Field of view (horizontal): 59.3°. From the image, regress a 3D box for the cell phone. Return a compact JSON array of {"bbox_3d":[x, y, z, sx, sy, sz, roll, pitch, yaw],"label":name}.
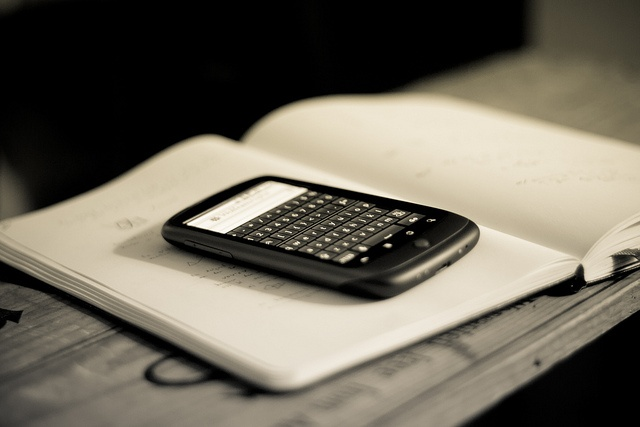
[{"bbox_3d":[0.003,0.001,0.429,0.192,0.019,0.106,11,28,29],"label":"cell phone"}]
